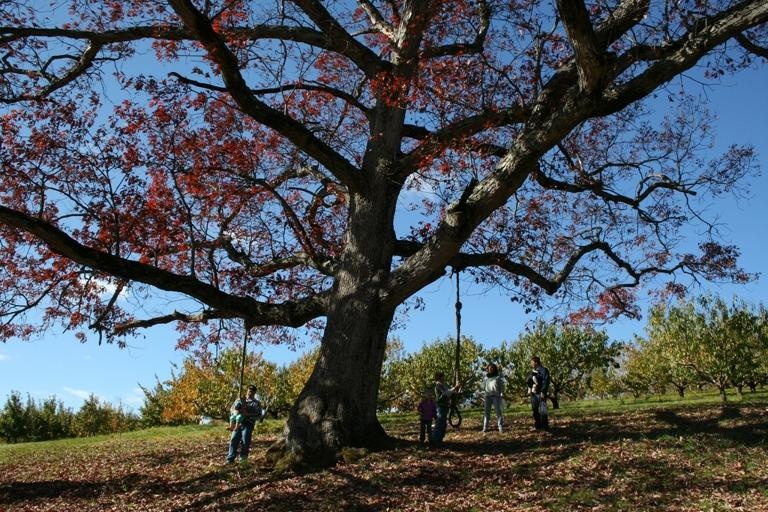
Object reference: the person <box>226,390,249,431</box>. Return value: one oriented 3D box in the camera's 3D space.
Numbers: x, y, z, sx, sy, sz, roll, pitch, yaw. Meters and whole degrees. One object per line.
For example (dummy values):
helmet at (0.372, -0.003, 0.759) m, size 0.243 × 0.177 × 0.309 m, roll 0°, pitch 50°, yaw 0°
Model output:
person at (-4.771, 5.167, 22.325) m, size 0.585 × 1.028 × 0.332 m, roll 7°, pitch -1°, yaw 29°

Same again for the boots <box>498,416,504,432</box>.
boots at (4.227, 6.028, 24.489) m, size 0.245 × 0.457 × 0.793 m, roll -4°, pitch -2°, yaw 8°
